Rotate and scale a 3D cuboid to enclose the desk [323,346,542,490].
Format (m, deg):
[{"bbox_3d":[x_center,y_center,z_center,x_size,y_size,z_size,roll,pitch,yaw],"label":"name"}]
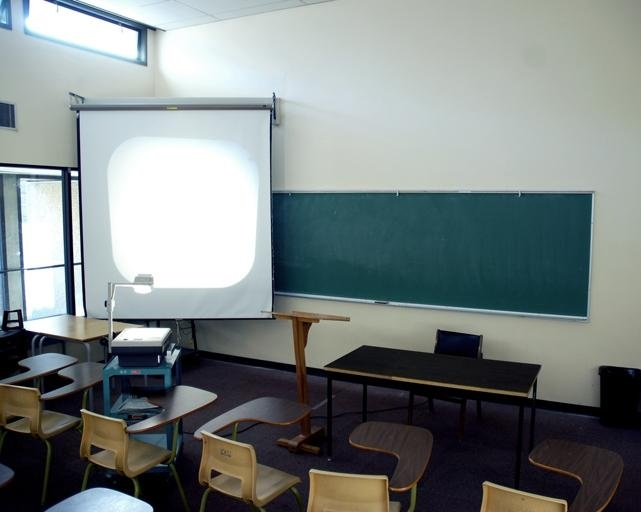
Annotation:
[{"bbox_3d":[1.007,1.379,4.581,1.765,0.867,0.871,3,6,20],"label":"desk"}]
